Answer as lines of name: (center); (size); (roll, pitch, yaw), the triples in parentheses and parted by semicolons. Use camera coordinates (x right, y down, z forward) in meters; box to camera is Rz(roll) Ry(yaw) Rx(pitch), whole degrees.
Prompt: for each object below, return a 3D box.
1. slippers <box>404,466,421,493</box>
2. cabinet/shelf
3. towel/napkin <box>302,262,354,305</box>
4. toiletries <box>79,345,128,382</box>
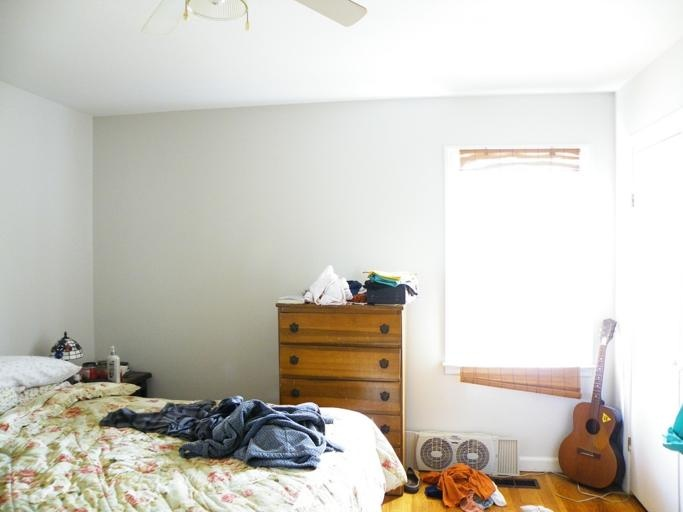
slippers: (0.549, 1.728, 4.037); (0.116, 0.062, 0.255); (3, 14, 8)
cabinet/shelf: (0.052, 0.846, 4.205); (0.954, 1.300, 0.789); (0, -1, 11)
towel/napkin: (-0.107, 0.189, 3.996); (0.265, 0.301, 0.301); (6, 5, 12)
toiletries: (-1.989, 0.922, 4.340); (0.317, 0.239, 0.326); (0, -3, -10)
